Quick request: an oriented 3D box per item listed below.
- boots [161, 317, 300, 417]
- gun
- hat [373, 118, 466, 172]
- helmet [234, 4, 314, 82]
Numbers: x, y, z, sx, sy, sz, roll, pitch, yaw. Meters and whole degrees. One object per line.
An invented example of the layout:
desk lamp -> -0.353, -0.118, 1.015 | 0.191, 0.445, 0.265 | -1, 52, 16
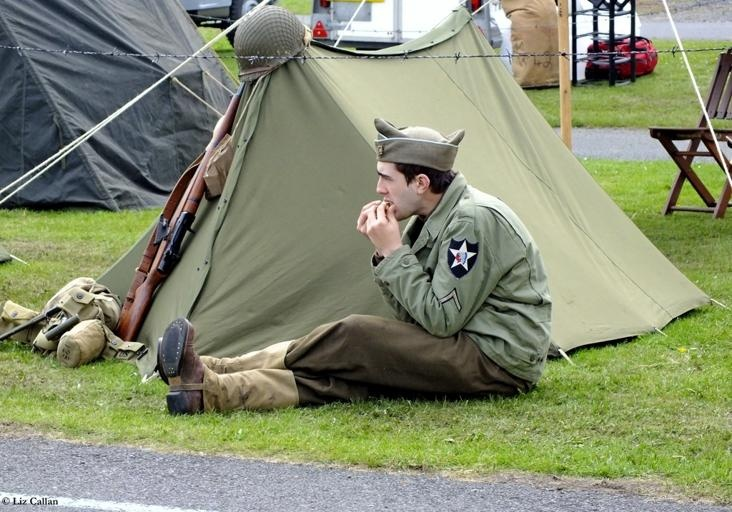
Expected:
boots -> -0.972, 0.847, 8.334 | 0.935, 0.682, 0.633 | 1, 4, 36
gun -> -1.511, -0.131, 9.620 | 0.903, 2.084, 0.954 | 6, 31, 5
hat -> 0.342, -0.762, 8.438 | 0.455, 0.261, 0.381 | 5, 6, 5
helmet -> -0.782, -1.711, 9.502 | 0.589, 0.541, 0.459 | -19, 27, -10
